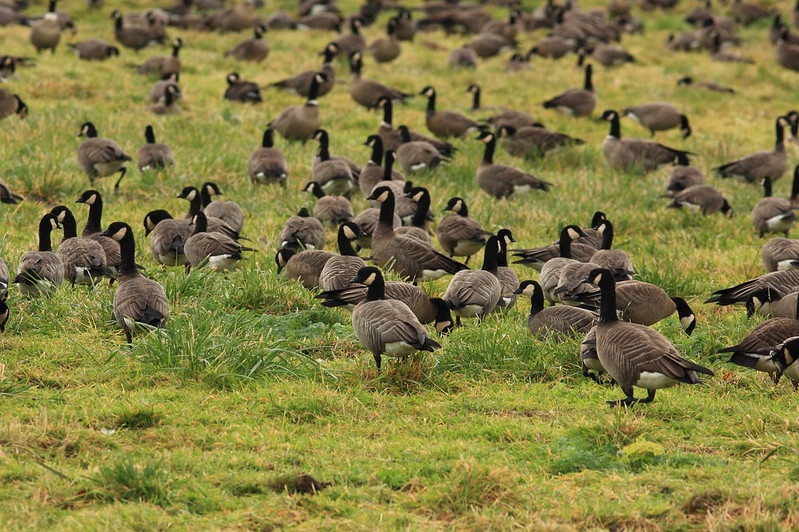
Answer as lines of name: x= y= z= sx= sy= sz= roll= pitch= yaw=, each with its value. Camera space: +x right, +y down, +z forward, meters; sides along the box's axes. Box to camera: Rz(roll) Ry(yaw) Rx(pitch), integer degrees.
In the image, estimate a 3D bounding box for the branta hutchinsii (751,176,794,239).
branta hutchinsii: x=8.153 y=-1.038 z=21.097 sx=0.888 sy=0.863 sz=0.551 roll=8 pitch=8 yaw=31
